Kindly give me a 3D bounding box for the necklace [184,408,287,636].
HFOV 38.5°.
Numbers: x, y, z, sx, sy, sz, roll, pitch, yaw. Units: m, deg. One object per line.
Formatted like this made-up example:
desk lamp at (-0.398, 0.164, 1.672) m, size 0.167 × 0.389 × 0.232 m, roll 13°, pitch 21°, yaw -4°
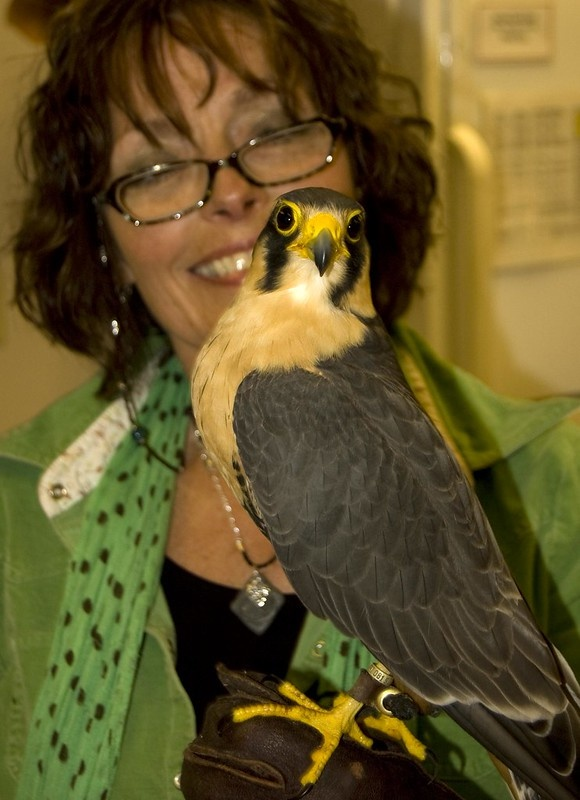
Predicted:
necklace at (-0.122, 0.300, 2.048) m, size 0.217 × 0.530 × 0.166 m, roll -17°, pitch -19°, yaw -27°
